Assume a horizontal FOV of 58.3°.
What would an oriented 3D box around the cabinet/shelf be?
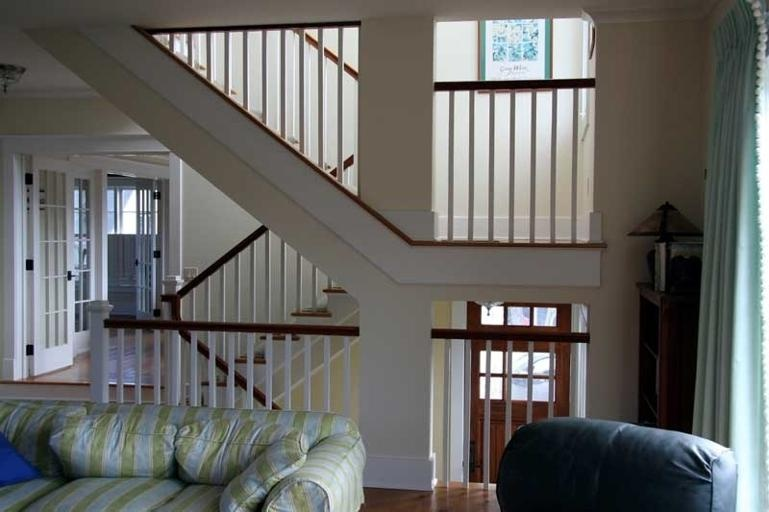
[{"bbox_3d":[2.040,0.732,5.037,0.274,1.050,0.632,2,-2,3],"label":"cabinet/shelf"}]
